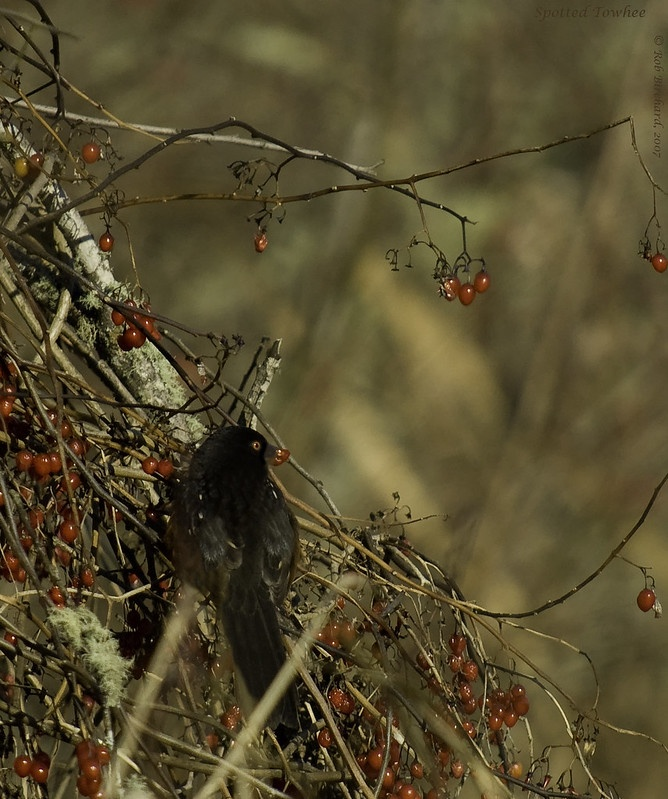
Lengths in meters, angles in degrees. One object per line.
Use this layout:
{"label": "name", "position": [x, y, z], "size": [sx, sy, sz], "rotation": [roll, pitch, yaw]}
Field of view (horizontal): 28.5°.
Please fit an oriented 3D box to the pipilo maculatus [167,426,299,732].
{"label": "pipilo maculatus", "position": [-0.283, 0.495, 3.955], "size": [0.356, 0.929, 0.409], "rotation": [-2, -42, -1]}
